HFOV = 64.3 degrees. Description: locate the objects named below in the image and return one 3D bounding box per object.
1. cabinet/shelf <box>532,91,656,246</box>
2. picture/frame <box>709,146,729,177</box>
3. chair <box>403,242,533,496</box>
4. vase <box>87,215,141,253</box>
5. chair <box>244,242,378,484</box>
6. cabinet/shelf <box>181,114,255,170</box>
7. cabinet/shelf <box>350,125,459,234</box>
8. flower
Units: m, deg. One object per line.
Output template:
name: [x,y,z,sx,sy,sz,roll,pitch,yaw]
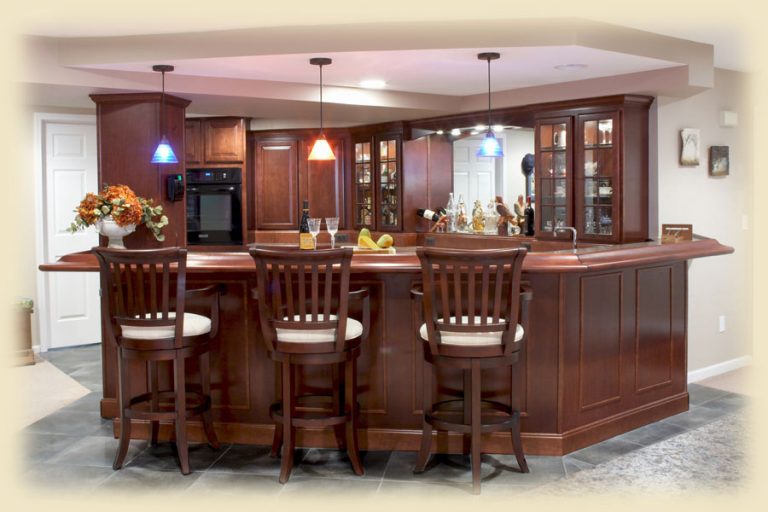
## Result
cabinet/shelf: [2.094,-0.849,6.111,1.136,1.428,0.626,2,13,11]
picture/frame: [3.487,-0.987,6.359,0.385,0.381,0.056,-1,1,-33]
chair: [0.654,0.720,4.356,0.820,1.671,0.759,3,13,16]
vase: [-2.402,-0.209,5.593,0.458,0.304,0.437,2,0,28]
chair: [-0.507,0.716,4.464,0.797,1.660,0.704,-1,13,-3]
cabinet/shelf: [-2.090,-1.428,7.978,1.208,0.870,0.580,0,1,1]
cabinet/shelf: [0.312,-0.962,7.554,0.898,1.406,1.577,-1,3,-44]
flower: [-2.397,-0.410,5.581,0.760,0.476,0.720,-3,7,-26]
